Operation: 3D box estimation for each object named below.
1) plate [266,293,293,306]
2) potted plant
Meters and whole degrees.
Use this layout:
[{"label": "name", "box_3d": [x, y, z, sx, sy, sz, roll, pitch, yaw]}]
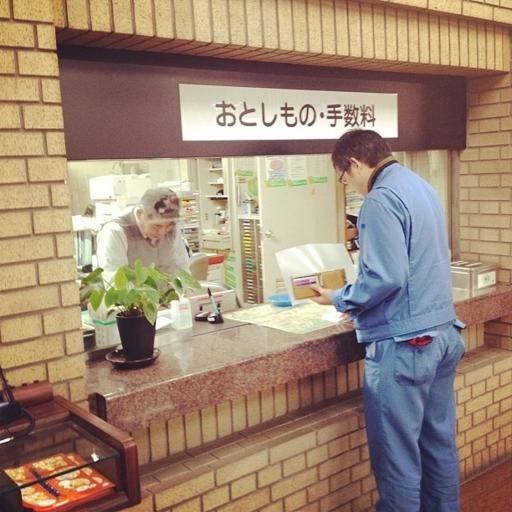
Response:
[{"label": "plate", "box_3d": [0.145, 0.265, 3.092, 0.131, 0.056, 0.196, -1, 9, -3]}, {"label": "potted plant", "box_3d": [-0.439, 0.187, 2.035, 0.485, 0.270, 0.451, 1, 2, 23]}]
